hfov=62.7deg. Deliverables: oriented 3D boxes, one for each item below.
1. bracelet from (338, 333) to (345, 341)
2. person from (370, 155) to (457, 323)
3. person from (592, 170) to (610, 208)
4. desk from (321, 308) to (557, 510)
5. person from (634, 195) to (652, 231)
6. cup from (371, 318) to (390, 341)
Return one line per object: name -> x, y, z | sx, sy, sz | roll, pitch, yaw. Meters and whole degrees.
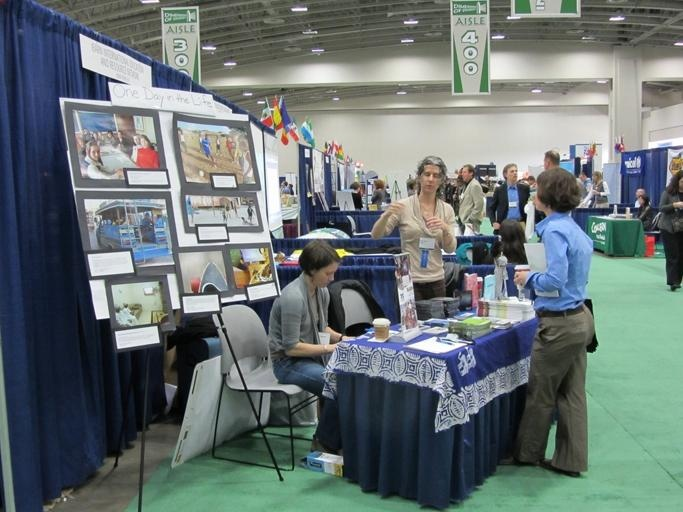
bracelet -> 0.005, 0.521, 3.618 | 0.028, 0.043, 0.015 | 5, -5, 7
person -> 0.519, -0.188, 3.927 | 0.580, 0.976, 0.335 | -1, 8, 4
person -> 6.070, -1.552, 13.115 | 0.342, 0.832, 0.887 | 2, 9, 25
desk -> 0.465, 0.558, 3.184 | 0.770, 0.715, 1.227 | 6, 8, 35
person -> 5.930, -0.839, 10.931 | 0.248, 0.715, 0.803 | 3, 9, 29
cup -> 0.227, 0.410, 3.157 | 0.097, 0.102, 0.100 | -1, 6, 0
